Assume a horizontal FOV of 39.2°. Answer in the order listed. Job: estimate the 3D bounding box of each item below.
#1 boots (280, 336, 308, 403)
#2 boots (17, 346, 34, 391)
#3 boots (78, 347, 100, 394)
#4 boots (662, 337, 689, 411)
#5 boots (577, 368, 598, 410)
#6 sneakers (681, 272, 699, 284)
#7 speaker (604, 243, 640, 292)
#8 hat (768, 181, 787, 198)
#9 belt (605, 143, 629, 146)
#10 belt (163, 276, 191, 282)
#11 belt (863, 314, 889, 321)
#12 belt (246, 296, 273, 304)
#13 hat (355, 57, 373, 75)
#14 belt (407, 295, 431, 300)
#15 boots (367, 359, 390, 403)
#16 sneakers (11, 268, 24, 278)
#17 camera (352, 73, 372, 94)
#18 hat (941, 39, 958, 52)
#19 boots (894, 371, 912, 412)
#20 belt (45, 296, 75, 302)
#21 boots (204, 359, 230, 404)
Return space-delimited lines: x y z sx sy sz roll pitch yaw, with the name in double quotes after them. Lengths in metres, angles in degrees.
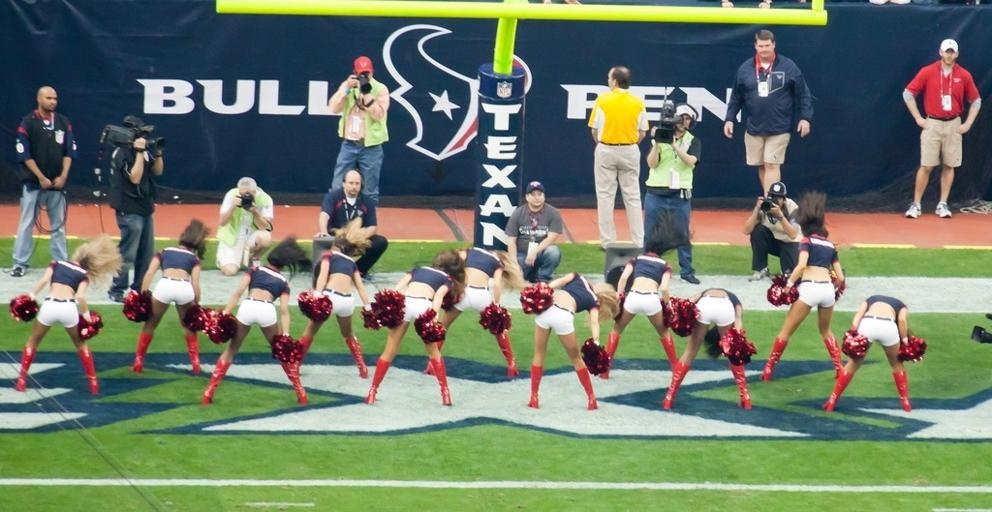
-3.223 1.767 22.140 0.413 1.103 0.501 0 3 -9 "boots"
-7.483 1.771 22.053 0.229 0.819 0.376 13 -7 -21 "boots"
-6.519 1.773 22.271 0.308 0.758 0.674 -1 3 -17 "boots"
2.894 2.023 22.450 0.391 0.787 0.670 1 3 8 "boots"
1.457 2.071 22.368 0.349 0.653 0.587 1 3 2 "boots"
3.635 0.394 25.925 0.163 0.139 0.391 -7 13 -40 "sneakers"
2.188 0.192 24.146 0.796 1.058 0.621 -1 17 1 "speaker"
4.917 -1.152 24.371 0.347 0.223 0.452 5 13 20 "hat"
2.279 -2.140 26.344 0.380 0.056 0.064 0 3 -5 "belt"
-5.147 0.333 22.451 0.412 0.067 0.076 0 3 -12 "belt"
6.059 0.947 22.023 0.359 0.072 0.060 1 3 5 "belt"
-3.733 0.678 21.937 0.201 0.057 0.213 6 6 38 "belt"
-2.532 -3.636 26.428 0.300 0.344 0.607 0 3 -8 "hat"
-1.257 0.649 22.280 0.324 0.046 0.045 0 3 1 "belt"
-1.913 1.949 22.336 0.352 0.723 0.615 0 3 -5 "boots"
-8.719 0.284 25.308 0.203 0.150 0.387 1 0 -18 "sneakers"
-2.520 -3.315 26.179 0.431 0.211 0.394 -4 27 -24 "camera"
9.512 -4.466 29.218 0.323 0.289 0.562 1 3 13 "hat"
6.548 2.109 22.413 0.295 0.650 0.575 1 3 15 "boots"
-6.892 0.661 21.957 0.440 0.071 0.181 -1 3 -17 "belt"
-4.469 1.946 22.107 0.407 0.700 0.485 0 3 -12 "boots"
